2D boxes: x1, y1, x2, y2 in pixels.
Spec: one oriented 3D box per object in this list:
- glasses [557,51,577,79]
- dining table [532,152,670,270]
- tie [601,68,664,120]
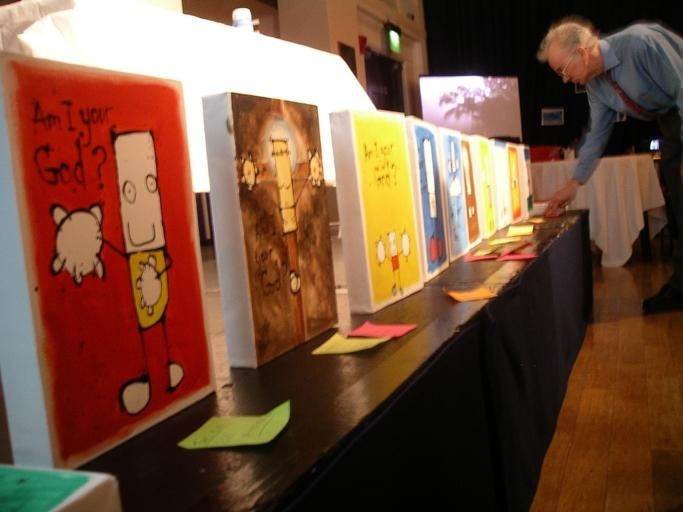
[{"bbox_3d":[0.983,-0.829,2.295,0.061,0.089,0.202,-1,10,14],"label":"glasses"},{"bbox_3d":[1.994,-0.347,4.003,0.765,0.864,1.102,6,14,42],"label":"dining table"},{"bbox_3d":[1.291,-0.708,2.312,0.174,0.233,0.062,-42,7,12],"label":"tie"}]
